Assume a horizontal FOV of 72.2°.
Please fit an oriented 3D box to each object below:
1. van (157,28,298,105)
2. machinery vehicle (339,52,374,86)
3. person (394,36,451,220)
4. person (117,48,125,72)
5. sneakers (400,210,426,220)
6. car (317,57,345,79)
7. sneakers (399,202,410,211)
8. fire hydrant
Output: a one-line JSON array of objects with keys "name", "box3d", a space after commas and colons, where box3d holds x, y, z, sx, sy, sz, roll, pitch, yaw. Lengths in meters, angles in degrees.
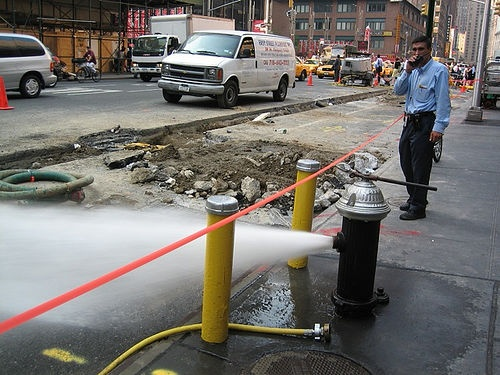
[{"name": "van", "box3d": [-0.719, -5.706, 16.066, 3.622, 2.559, 6.330, 13, 19, 33]}, {"name": "machinery vehicle", "box3d": [10.443, -10.974, 32.987, 2.668, 2.249, 4.350, 12, 20, 36]}, {"name": "person", "box3d": [2.301, -1.008, 4.647, 0.742, 1.965, 0.502, 11, 18, 35]}, {"name": "person", "box3d": [-11.677, -11.539, 30.949, 0.648, 2.416, 1.584, -4, 15, -19]}, {"name": "sneakers", "box3d": [2.240, 0.397, 4.813, 0.379, 0.163, 0.137, 4, 7, -2]}, {"name": "car", "box3d": [9.547, -14.004, 40.412, 1.824, 1.723, 4.302, 14, 30, 30]}, {"name": "sneakers", "box3d": [2.320, 0.291, 5.125, 0.083, 0.077, 0.195, 3, 3, 31]}, {"name": "fire hydrant", "box3d": [0.854, 0.436, 2.676, 0.498, 1.051, 0.373, -11, 18, -38]}]
